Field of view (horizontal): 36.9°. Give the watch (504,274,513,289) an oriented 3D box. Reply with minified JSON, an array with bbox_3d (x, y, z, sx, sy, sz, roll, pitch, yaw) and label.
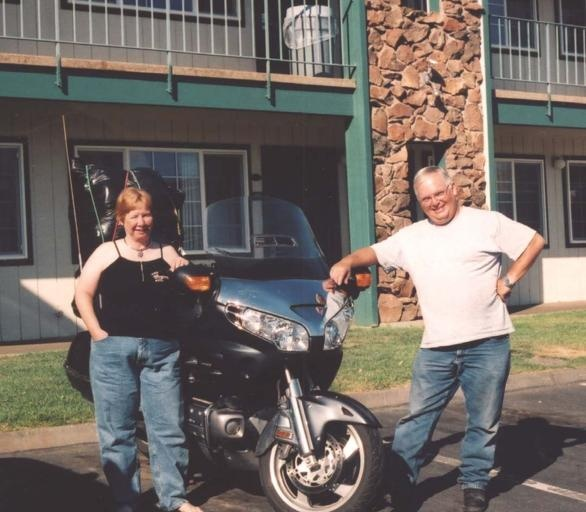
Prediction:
[{"bbox_3d":[1.651,0.200,6.781,0.050,0.075,0.080,-19,45,-25],"label":"watch"}]
